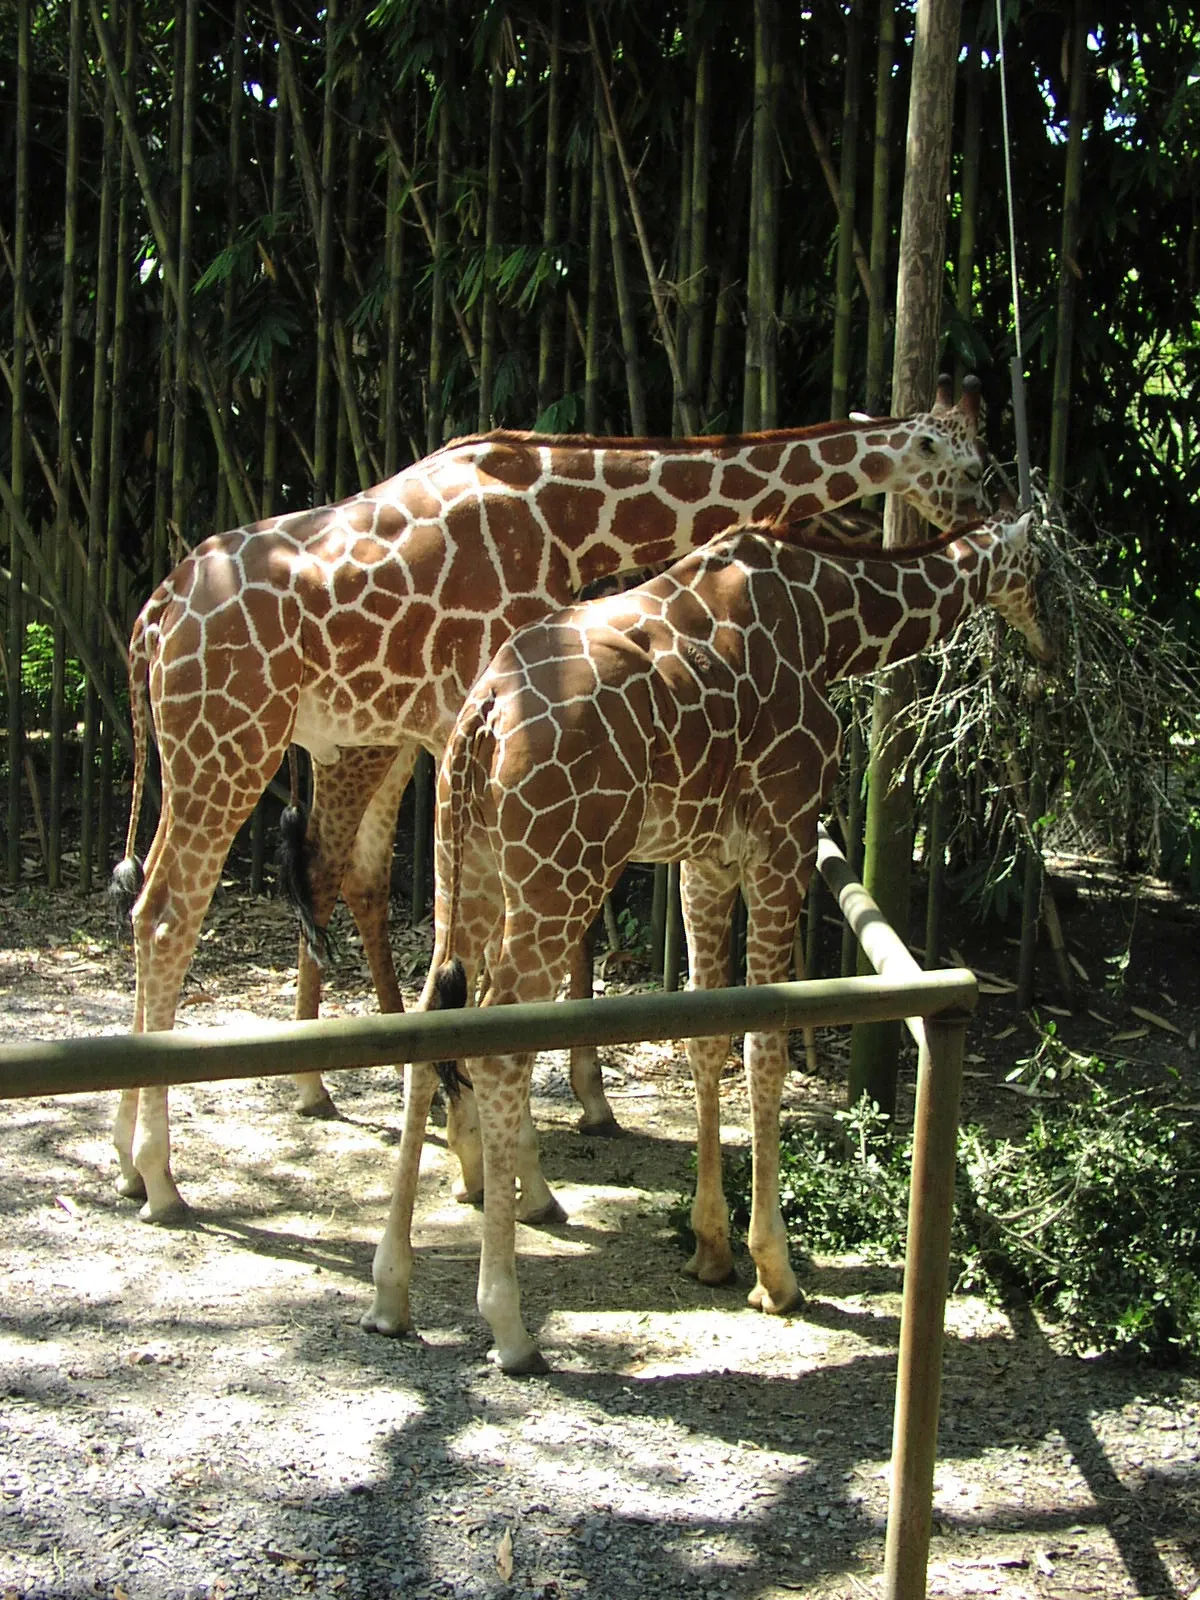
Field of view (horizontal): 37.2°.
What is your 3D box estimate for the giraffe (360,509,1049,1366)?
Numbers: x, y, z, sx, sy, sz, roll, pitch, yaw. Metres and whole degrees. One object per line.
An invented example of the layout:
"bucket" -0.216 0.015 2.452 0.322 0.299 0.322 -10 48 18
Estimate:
"giraffe" 0.109 0.155 2.805 1.000 1.251 0.465 -1 7 -32
